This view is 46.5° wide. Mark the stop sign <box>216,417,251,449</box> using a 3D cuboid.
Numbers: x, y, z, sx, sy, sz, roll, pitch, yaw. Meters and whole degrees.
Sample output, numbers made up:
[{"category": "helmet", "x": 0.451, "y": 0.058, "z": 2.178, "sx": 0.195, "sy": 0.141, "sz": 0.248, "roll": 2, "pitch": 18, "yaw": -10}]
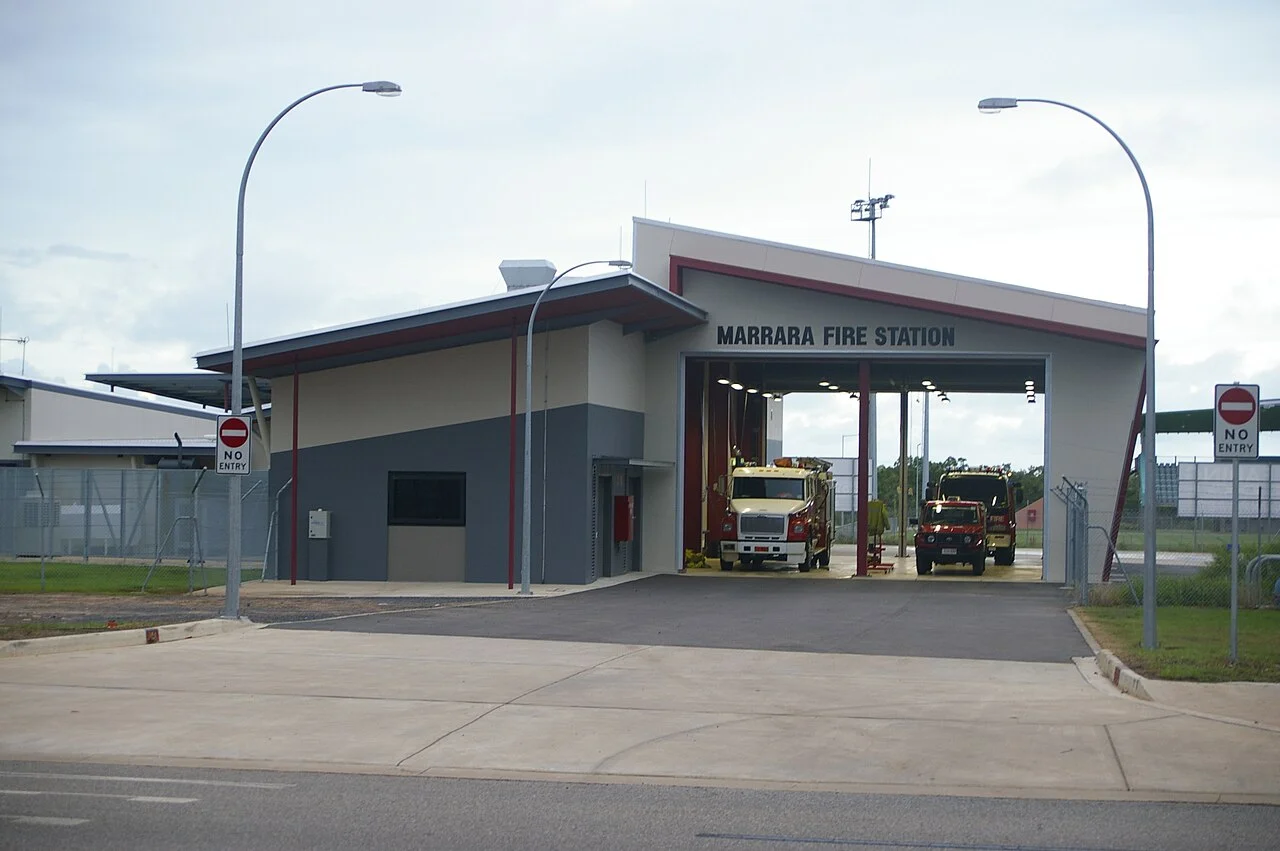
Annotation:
[{"category": "stop sign", "x": -8.646, "y": 0.144, "z": 31.773, "sx": 0.748, "sy": 0.776, "sz": 0.103, "roll": -2, "pitch": 3, "yaw": -32}]

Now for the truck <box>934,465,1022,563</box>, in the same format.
[{"category": "truck", "x": 12.597, "y": 3.020, "z": 53.584, "sx": 2.699, "sy": 2.788, "sz": 10.470, "roll": 0, "pitch": -2, "yaw": 15}]

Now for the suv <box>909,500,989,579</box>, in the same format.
[{"category": "suv", "x": 10.339, "y": 3.612, "z": 49.419, "sx": 1.810, "sy": 1.964, "sz": 4.714, "roll": -1, "pitch": -2, "yaw": 18}]
